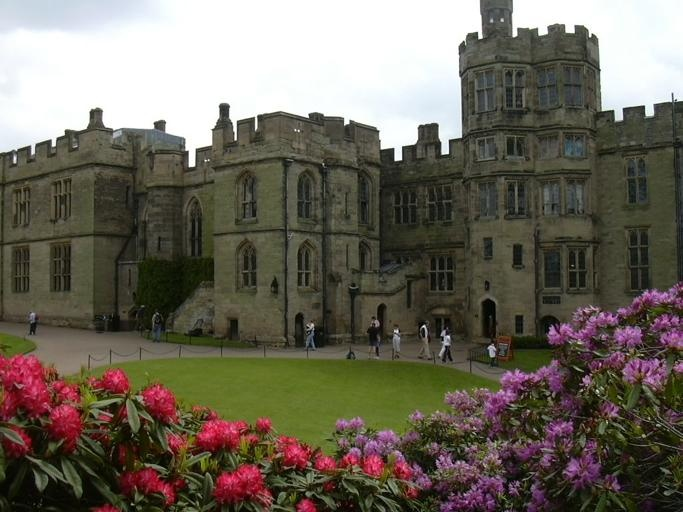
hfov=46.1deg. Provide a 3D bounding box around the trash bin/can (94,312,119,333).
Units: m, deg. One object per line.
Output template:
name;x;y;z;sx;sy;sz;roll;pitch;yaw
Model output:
trash bin/can;-10.810;3.070;36.775;1.134;0.715;1.969;3;4;-18

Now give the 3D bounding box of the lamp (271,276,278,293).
lamp;-2.488;1.075;30.086;0.331;0.654;0.101;6;4;24

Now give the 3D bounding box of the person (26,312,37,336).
person;-12.934;2.749;33.501;0.303;1.077;1.949;2;4;-22
